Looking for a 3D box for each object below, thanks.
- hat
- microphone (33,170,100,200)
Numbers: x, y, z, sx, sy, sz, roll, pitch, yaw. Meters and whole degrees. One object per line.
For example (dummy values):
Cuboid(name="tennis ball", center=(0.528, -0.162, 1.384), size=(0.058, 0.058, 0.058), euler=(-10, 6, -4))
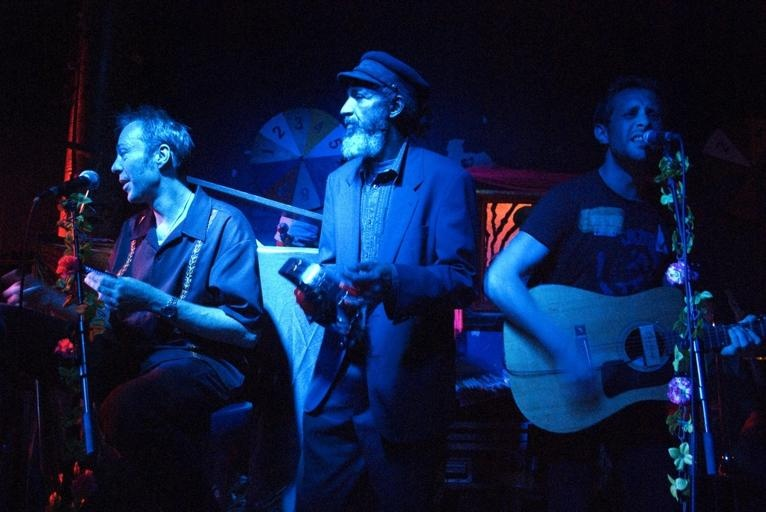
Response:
Cuboid(name="hat", center=(0.017, -1.140, 4.340), size=(0.625, 0.227, 0.460), euler=(11, 12, -36))
Cuboid(name="microphone", center=(-2.284, -0.504, 4.884), size=(0.422, 0.139, 0.118), euler=(-26, -11, -19))
